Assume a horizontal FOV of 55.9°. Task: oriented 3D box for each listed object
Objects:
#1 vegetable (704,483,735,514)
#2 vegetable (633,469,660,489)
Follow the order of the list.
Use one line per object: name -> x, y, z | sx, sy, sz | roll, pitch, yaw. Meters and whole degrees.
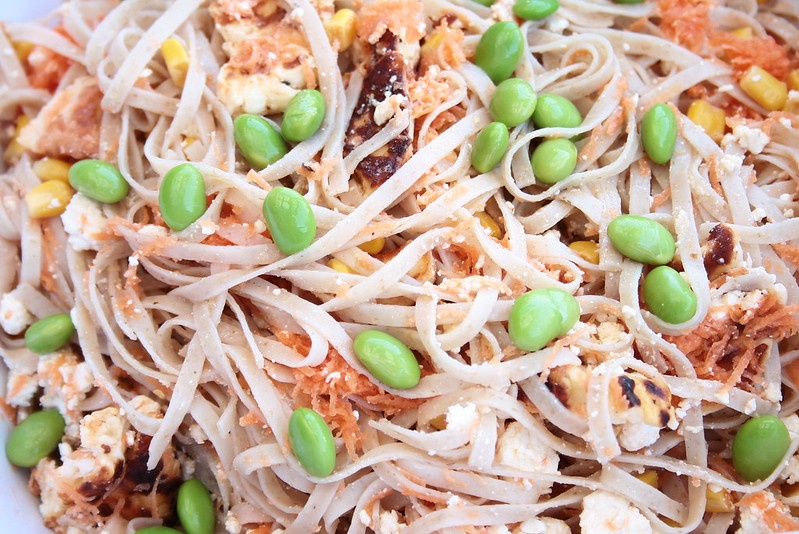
vegetable -> 1.513, 1.112, 3.598 | 0.142, 0.119, 0.053 | 30, 26, 3
vegetable -> 1.215, 1.028, 3.671 | 0.098, 0.095, 0.027 | 29, 4, 1
